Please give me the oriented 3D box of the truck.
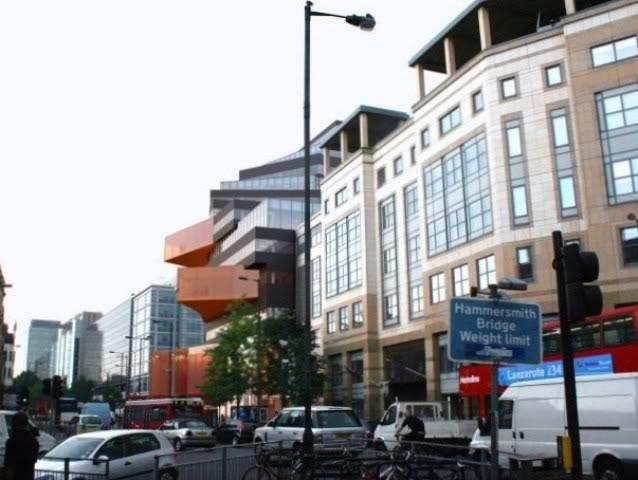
[{"bbox_3d":[4.580,8.887,35.138,4.544,2.367,2.861,-6,-13,40],"label":"truck"}]
